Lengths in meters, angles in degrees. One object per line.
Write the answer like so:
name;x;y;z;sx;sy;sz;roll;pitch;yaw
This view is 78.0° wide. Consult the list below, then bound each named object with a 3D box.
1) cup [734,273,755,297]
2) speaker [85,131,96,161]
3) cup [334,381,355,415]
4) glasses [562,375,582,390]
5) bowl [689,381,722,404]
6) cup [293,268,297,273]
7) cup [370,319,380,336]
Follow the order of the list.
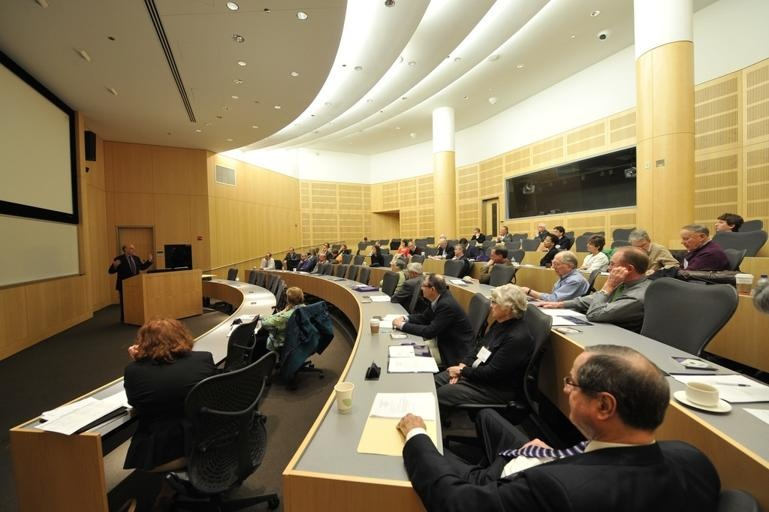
cup;4.155;0.311;5.448;0.251;0.274;0.262;-1;1;0
speaker;-5.997;-2.257;9.680;0.183;0.600;0.394;-2;5;-29
cup;-0.394;1.351;4.565;0.233;0.253;0.241;-1;-1;0
glasses;1.573;1.074;4.053;0.180;0.065;0.145;9;1;35
bowl;2.848;1.229;4.238;0.174;0.109;0.232;-3;-6;-8
cup;-2.207;0.342;11.713;0.067;0.131;0.132;-4;2;-1
cup;-0.093;0.855;5.744;0.135;0.146;0.144;-1;-6;0
